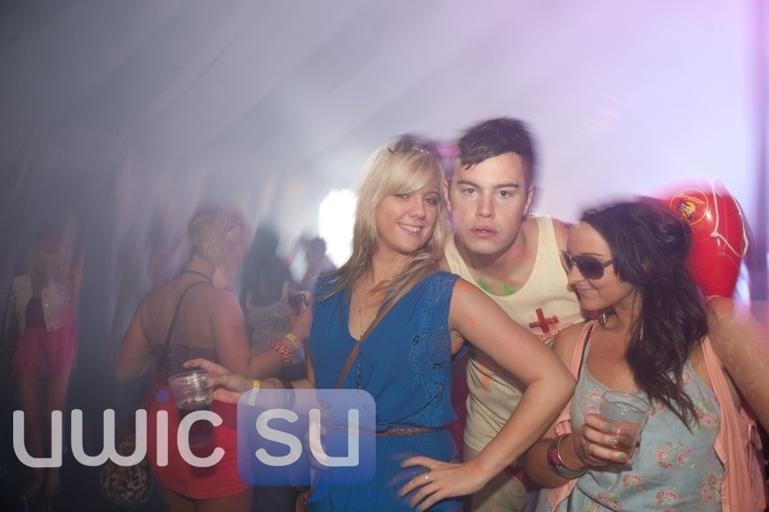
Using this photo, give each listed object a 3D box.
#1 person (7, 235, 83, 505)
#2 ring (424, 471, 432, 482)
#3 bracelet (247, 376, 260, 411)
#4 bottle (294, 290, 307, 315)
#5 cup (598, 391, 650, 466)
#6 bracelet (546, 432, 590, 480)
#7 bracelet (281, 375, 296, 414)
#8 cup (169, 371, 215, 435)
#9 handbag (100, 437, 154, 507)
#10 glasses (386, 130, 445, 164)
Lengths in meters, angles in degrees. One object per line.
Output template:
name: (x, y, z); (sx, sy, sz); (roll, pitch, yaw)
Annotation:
person: (-1.674, 0.441, 2.981); (0.339, 1.048, 0.096); (2, -2, 18)
ring: (0.184, 0.958, 2.628); (0.034, 0.037, 0.029); (2, -16, -4)
bracelet: (-0.610, 0.636, 2.858); (0.025, 0.116, 0.063); (10, 3, -6)
bottle: (-0.392, 0.214, 2.831); (0.063, 0.099, 0.034); (1, 0, 14)
cup: (1.012, 0.712, 2.566); (0.191, 0.253, 0.254); (1, -3, 24)
bracelet: (0.780, 0.904, 2.681); (0.089, 0.193, 0.159); (-31, -15, 39)
bracelet: (-0.444, 0.636, 2.890); (0.086, 0.107, 0.116); (1, 6, -11)
cup: (-0.871, 0.693, 2.915); (0.245, 0.203, 0.268); (-16, -15, -4)
handbag: (-1.256, 1.055, 2.961); (0.237, 0.343, 0.133); (-2, 3, -4)
glasses: (0.136, -0.503, 2.753); (0.152, 0.049, 0.159); (7, -21, -20)
